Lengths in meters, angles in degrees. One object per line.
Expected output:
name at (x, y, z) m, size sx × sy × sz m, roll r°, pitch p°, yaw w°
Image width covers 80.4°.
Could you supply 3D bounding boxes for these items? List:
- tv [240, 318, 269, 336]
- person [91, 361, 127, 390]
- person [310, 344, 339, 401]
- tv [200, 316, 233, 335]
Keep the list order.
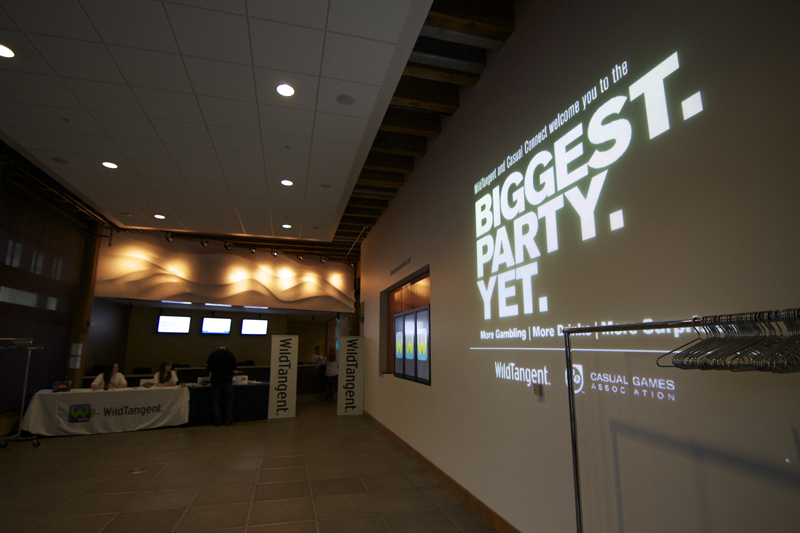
tv at (-4.352, 1.781, 14.063) m, size 0.693 × 0.508 × 0.160 m, roll 5°, pitch -6°, yaw -29°
person at (-5.907, 2.169, 9.484) m, size 0.430 × 0.673 × 0.750 m, roll -11°, pitch -15°, yaw 39°
person at (-1.927, 2.754, 12.350) m, size 0.594 × 1.309 × 1.447 m, roll 3°, pitch -5°, yaw -29°
tv at (-5.314, 1.696, 13.560) m, size 0.805 × 0.497 × 0.085 m, roll 3°, pitch -5°, yaw -32°
